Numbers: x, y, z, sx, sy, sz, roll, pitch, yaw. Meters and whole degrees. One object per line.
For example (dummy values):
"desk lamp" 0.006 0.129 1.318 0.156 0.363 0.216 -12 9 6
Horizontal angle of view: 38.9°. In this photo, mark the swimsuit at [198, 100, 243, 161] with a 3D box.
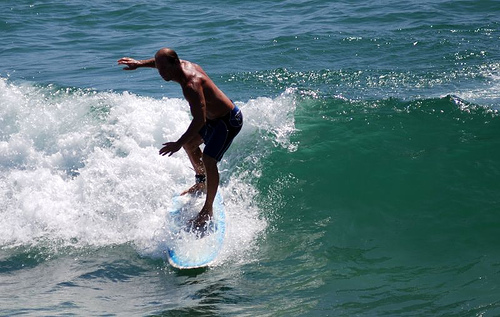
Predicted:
"swimsuit" -0.696 -0.643 14.765 0.900 1.334 1.017 -12 41 -29

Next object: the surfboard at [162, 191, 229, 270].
"surfboard" -1.156 1.359 14.612 1.325 2.163 0.326 9 36 1

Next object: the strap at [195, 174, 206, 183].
"strap" -1.044 0.433 15.133 0.220 0.161 0.157 -8 21 1
